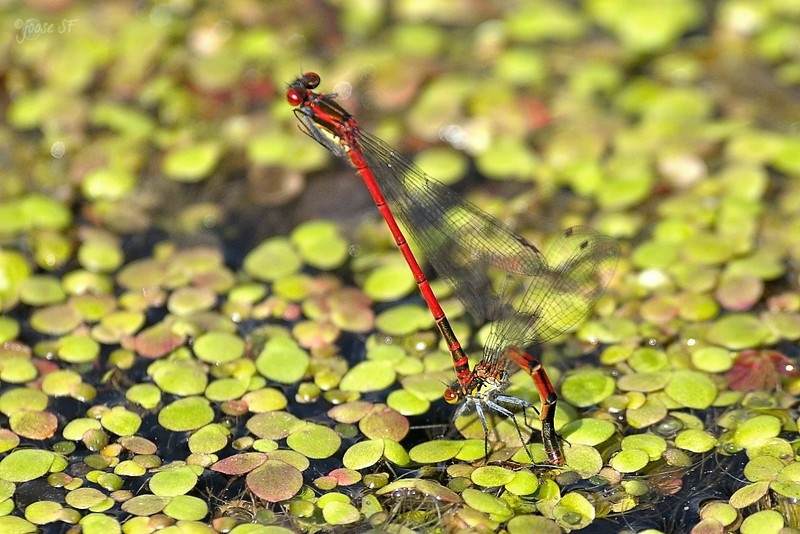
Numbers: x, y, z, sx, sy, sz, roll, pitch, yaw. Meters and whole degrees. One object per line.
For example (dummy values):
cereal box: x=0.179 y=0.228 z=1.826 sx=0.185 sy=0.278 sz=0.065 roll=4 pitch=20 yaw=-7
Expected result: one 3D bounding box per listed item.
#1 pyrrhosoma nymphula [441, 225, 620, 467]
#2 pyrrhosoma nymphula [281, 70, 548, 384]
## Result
pyrrhosoma nymphula: x=0.296 y=0.193 z=1.874 sx=0.334 sy=0.505 sz=0.260 roll=48 pitch=51 yaw=-4
pyrrhosoma nymphula: x=0.035 y=-0.077 z=2.116 sx=0.154 sy=0.172 sz=0.980 roll=-32 pitch=107 yaw=6
